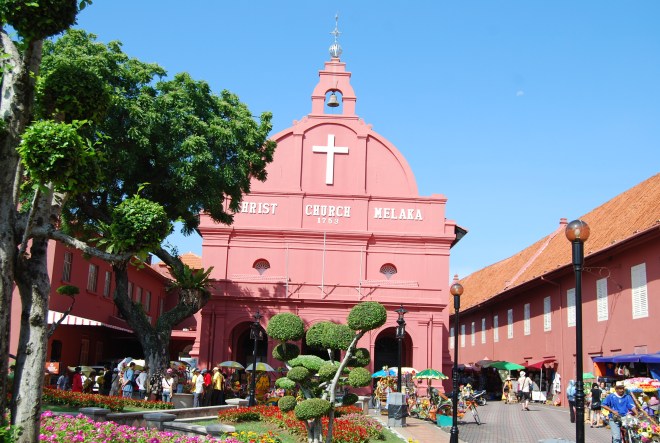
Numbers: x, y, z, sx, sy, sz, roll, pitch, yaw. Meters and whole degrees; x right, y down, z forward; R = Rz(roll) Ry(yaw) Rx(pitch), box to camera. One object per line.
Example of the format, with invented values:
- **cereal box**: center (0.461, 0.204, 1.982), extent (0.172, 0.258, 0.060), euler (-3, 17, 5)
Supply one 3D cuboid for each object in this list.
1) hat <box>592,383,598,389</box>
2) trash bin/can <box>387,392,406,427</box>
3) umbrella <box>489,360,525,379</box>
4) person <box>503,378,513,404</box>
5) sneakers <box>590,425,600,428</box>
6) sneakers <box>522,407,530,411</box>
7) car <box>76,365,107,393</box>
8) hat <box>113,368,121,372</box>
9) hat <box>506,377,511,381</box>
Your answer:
- **hat**: center (9.992, 6.245, 27.995), extent (0.274, 0.172, 0.278), euler (0, -1, 22)
- **trash bin/can**: center (2.465, 7.039, 27.403), extent (0.680, 1.253, 0.613), euler (2, -21, -1)
- **umbrella**: center (10.010, 8.406, 41.747), extent (1.631, 0.620, 1.803), euler (9, -18, -10)
- **person**: center (9.475, 9.186, 39.613), extent (0.419, 1.531, 2.039), euler (-3, -23, 10)
- **sneakers**: center (10.071, 7.859, 28.213), extent (0.307, 0.137, 0.097), euler (-18, -9, 26)
- **sneakers**: center (8.987, 8.652, 33.922), extent (0.142, 0.210, 0.473), euler (-1, -4, 37)
- **car**: center (-10.150, 6.736, 31.622), extent (1.546, 0.737, 2.334), euler (-4, -13, -10)
- **hat**: center (-8.354, 5.901, 29.097), extent (0.264, 0.138, 0.350), euler (7, -13, -20)
- **hat**: center (9.539, 8.517, 39.755), extent (0.221, 0.107, 0.311), euler (2, -7, -13)
